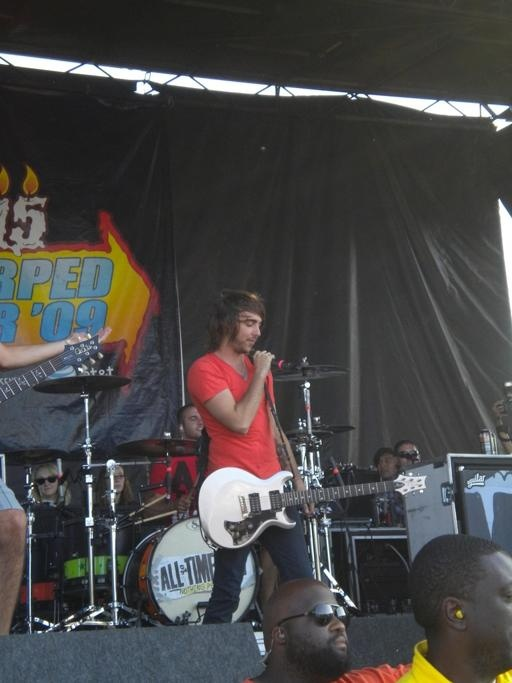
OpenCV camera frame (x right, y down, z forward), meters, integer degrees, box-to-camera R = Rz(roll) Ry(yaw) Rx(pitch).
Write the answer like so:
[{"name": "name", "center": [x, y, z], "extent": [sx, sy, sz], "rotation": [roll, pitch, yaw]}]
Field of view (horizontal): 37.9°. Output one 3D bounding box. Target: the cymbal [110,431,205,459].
[{"name": "cymbal", "center": [-0.720, 0.753, 5.250], "extent": [0.596, 0.222, 0.359], "rotation": [0, -1, -19]}]

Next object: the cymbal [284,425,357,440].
[{"name": "cymbal", "center": [0.458, 0.686, 5.593], "extent": [0.384, 0.078, 0.357], "rotation": [-5, -20, 6]}]

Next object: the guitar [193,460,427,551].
[{"name": "guitar", "center": [0.238, 0.639, 2.934], "extent": [0.968, 0.293, 0.336], "rotation": [7, -13, -39]}]

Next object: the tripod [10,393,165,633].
[{"name": "tripod", "center": [-1.076, 0.996, 4.749], "extent": [0.717, 1.483, 0.633], "rotation": [-1, 3, -38]}]

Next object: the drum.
[{"name": "drum", "center": [-0.474, 1.357, 4.547], "extent": [0.783, 0.738, 0.737], "rotation": [1, 0, -32]}]

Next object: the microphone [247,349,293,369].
[{"name": "microphone", "center": [0.074, 0.097, 4.041], "extent": [0.228, 0.050, 0.070], "rotation": [15, -41, 5]}]

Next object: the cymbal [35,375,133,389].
[{"name": "cymbal", "center": [-1.178, 0.294, 5.021], "extent": [0.276, 0.057, 0.258], "rotation": [-5, -10, 8]}]
